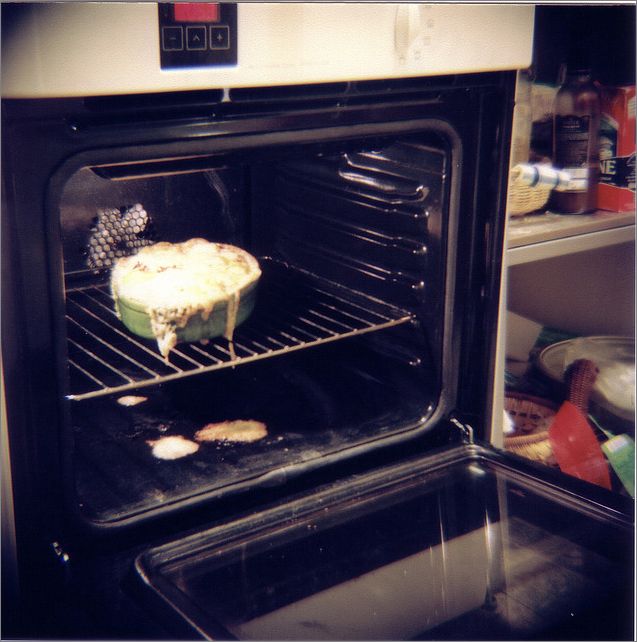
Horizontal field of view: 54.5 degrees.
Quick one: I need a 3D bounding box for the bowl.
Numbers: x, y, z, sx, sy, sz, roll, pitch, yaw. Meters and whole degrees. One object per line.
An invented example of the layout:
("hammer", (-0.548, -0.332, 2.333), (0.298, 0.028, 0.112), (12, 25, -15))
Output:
("bowl", (-0.198, -0.047, 0.949), (0.235, 0.116, 0.191), (-18, 28, -37))
